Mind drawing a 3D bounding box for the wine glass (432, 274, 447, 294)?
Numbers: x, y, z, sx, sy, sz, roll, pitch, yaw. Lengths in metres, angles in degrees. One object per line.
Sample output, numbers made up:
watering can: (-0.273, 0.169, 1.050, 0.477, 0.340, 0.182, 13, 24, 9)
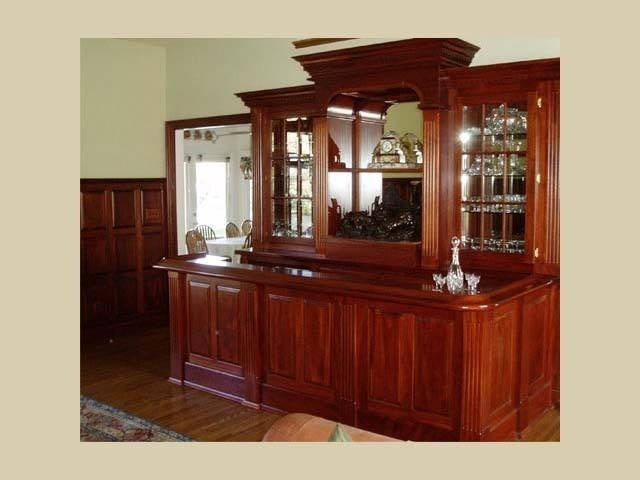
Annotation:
wine glass: (0.799, 0.286, 3.126, 0.100, 0.146, 0.108, -2, -3, 13)
